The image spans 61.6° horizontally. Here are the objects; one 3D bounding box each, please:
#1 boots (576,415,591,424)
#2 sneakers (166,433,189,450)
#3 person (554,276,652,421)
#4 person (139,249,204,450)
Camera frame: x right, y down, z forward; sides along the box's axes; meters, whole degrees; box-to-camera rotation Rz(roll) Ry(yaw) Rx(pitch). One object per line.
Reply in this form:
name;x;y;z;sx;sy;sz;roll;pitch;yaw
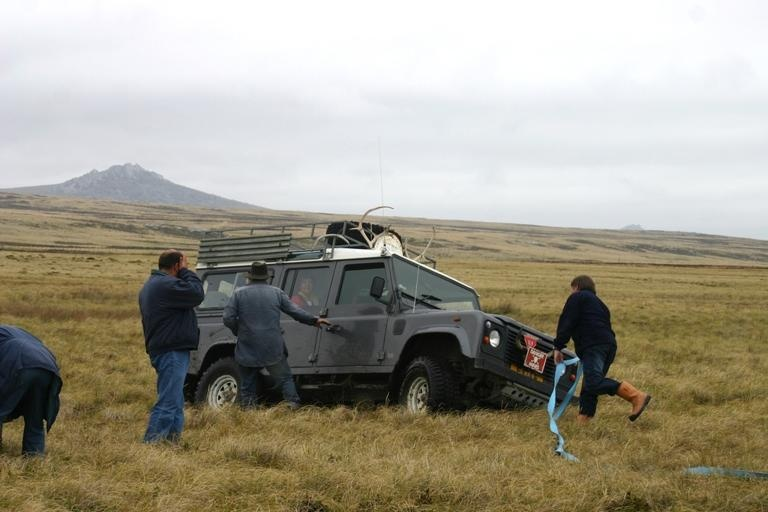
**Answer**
boots;2.842;2.317;9.180;0.120;0.094;0.134;1;-4;-16
sneakers;-2.602;2.386;8.248;0.205;0.097;0.201;23;-10;-41
person;3.133;1.334;9.364;1.289;2.060;0.820;3;2;12
person;-2.867;1.146;8.511;0.752;2.413;0.853;3;2;5
